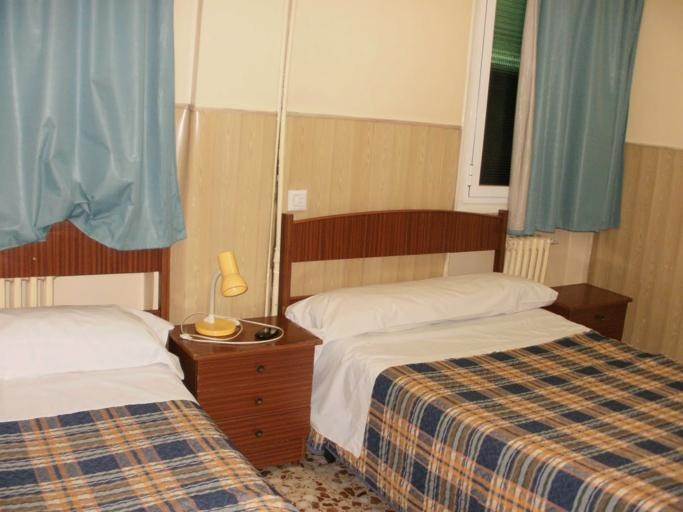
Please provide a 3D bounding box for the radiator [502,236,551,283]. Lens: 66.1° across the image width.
[{"bbox_3d":[1.317,0.015,3.751,0.325,0.281,0.220,-6,19,-30],"label":"radiator"}]
